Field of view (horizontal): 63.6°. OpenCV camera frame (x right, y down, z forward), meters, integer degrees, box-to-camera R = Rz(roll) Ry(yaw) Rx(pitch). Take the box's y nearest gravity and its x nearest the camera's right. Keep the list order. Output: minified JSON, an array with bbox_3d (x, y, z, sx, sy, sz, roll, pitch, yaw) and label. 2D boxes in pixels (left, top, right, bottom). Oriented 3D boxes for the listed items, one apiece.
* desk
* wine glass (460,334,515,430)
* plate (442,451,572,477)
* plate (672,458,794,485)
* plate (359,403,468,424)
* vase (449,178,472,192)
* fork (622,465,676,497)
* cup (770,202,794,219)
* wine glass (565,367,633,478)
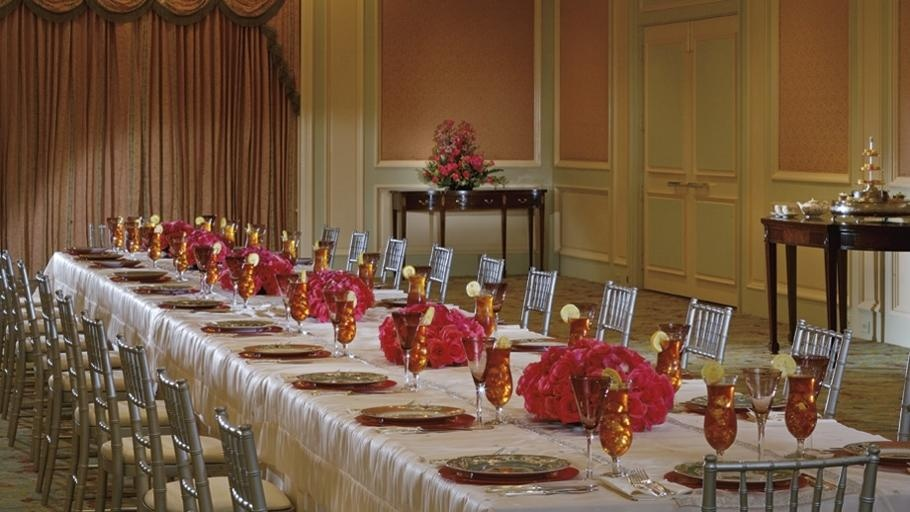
[{"bbox_3d":[0.243,-0.367,11.374,2.179,1.329,0.764,-1,5,-3],"label":"desk"},{"bbox_3d":[0.114,0.456,2.687,0.164,0.334,0.330,0,1,3],"label":"wine glass"},{"bbox_3d":[0.159,0.658,2.298,0.388,0.027,0.193,0,0,0],"label":"plate"},{"bbox_3d":[0.779,0.617,2.072,0.193,0.021,0.193,1,1,12],"label":"plate"},{"bbox_3d":[-0.169,0.597,2.764,0.395,0.037,0.182,0,0,-1],"label":"plate"},{"bbox_3d":[0.087,-1.059,10.968,0.361,0.168,0.152,0,1,-16],"label":"vase"},{"bbox_3d":[0.560,0.669,2.204,0.041,0.023,0.156,-2,11,-15],"label":"fork"},{"bbox_3d":[3.267,-0.439,7.337,0.277,0.150,0.205,5,-6,-37],"label":"cup"},{"bbox_3d":[0.457,0.514,2.313,0.177,0.332,0.256,1,1,13],"label":"wine glass"}]
